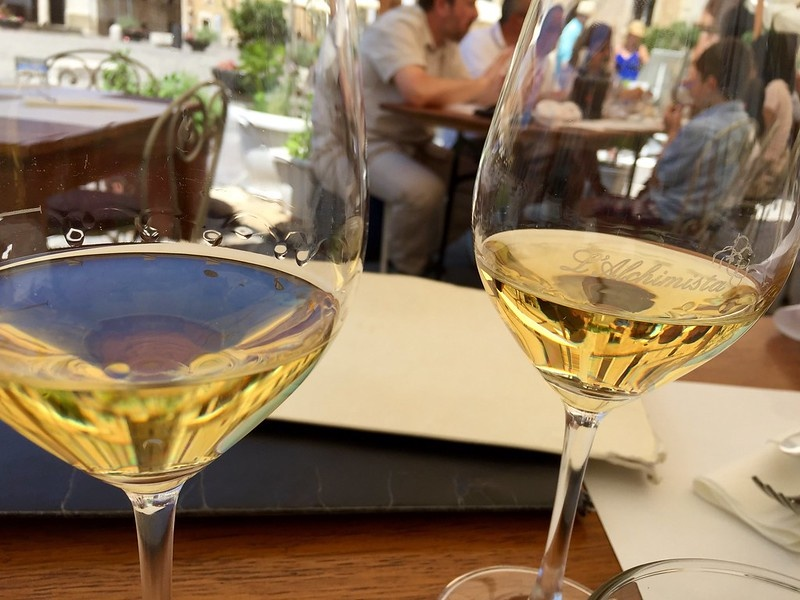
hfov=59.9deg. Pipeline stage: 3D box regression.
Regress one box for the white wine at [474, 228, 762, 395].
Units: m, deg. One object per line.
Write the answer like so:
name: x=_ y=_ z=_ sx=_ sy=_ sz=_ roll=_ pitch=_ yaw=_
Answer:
white wine: x=0.105 y=0.008 z=0.353 sx=0.111 sy=0.071 sz=0.083 roll=-3 pitch=23 yaw=-21
